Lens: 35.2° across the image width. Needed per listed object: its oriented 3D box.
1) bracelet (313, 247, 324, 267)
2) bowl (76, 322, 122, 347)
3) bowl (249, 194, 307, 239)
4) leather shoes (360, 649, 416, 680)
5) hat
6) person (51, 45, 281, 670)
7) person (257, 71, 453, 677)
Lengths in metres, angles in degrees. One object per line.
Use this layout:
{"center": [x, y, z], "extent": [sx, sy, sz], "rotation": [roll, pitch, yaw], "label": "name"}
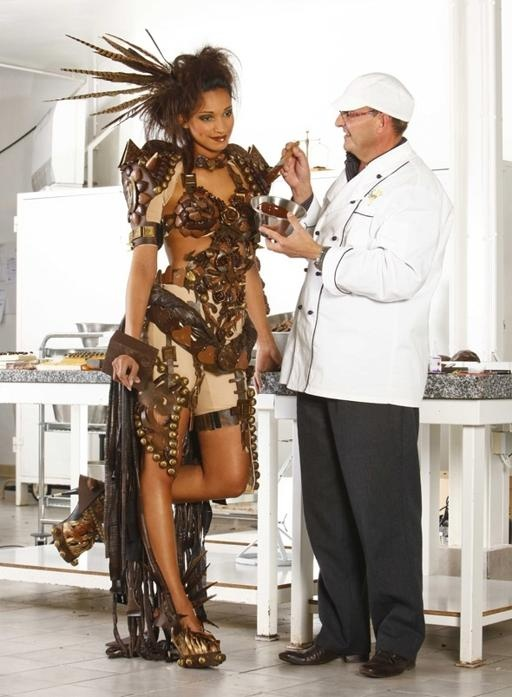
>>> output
{"center": [0.141, -0.210, 1.813], "extent": [0.012, 0.035, 0.039], "rotation": [12, 17, -1], "label": "bracelet"}
{"center": [-1.174, -0.122, 6.031], "extent": [0.268, 0.148, 0.260], "rotation": [1, -2, 0], "label": "bowl"}
{"center": [0.046, -0.319, 1.890], "extent": [0.112, 0.067, 0.123], "rotation": [27, 21, 24], "label": "bowl"}
{"center": [0.297, 0.706, 1.817], "extent": [0.135, 0.050, 0.047], "rotation": [10, -13, -42], "label": "leather shoes"}
{"center": [0.261, -0.600, 1.891], "extent": [0.229, 0.095, 0.147], "rotation": [6, 22, -9], "label": "hat"}
{"center": [-0.180, -0.018, 2.069], "extent": [0.499, 1.585, 0.372], "rotation": [0, -4, -12], "label": "person"}
{"center": [0.250, 0.066, 1.940], "extent": [0.431, 1.429, 0.448], "rotation": [-1, -4, 10], "label": "person"}
